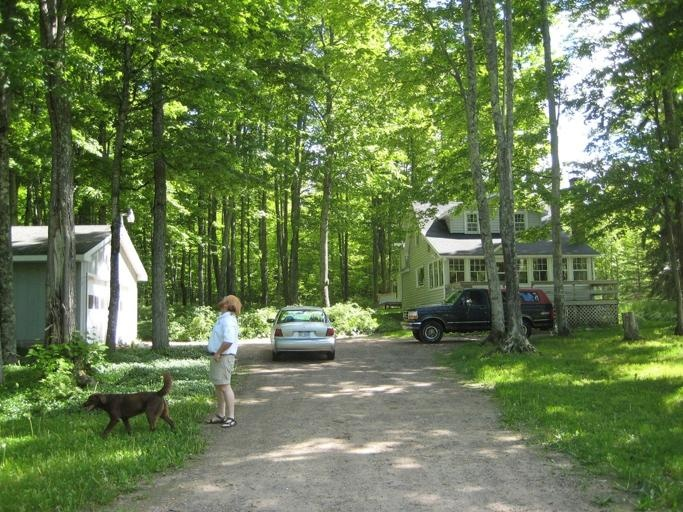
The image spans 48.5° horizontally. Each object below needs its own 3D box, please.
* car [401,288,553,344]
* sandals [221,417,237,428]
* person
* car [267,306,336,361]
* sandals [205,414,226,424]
[{"bbox_3d":[5.107,2.180,27.749,4.301,1.621,2.451,2,-8,-6],"label":"car"},{"bbox_3d":[-2.244,3.389,15.410,0.142,0.118,0.296,-5,-10,29],"label":"sandals"},{"bbox_3d":[-2.382,2.152,15.578,0.719,2.696,0.809,-2,-5,-10],"label":"person"},{"bbox_3d":[-1.123,2.367,22.806,1.832,1.619,0.949,-2,-6,-10],"label":"car"},{"bbox_3d":[-2.530,3.361,15.590,0.441,0.203,0.171,3,-5,1],"label":"sandals"}]
